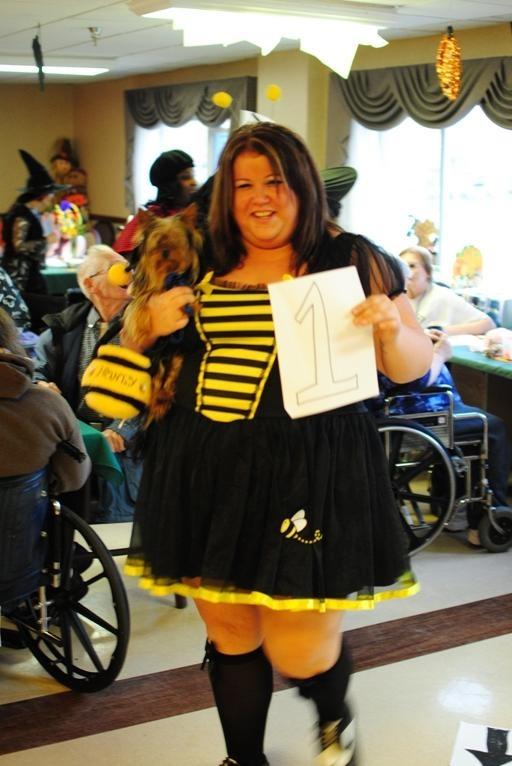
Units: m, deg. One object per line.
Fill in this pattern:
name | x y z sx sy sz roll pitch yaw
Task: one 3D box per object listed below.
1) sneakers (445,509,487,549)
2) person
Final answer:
sneakers | 1.141 0.779 3.059 0.100 0.197 0.296 -2 -1 -14
person | 0.010 0.167 0.890 0.501 1.071 0.291 -1 12 17
